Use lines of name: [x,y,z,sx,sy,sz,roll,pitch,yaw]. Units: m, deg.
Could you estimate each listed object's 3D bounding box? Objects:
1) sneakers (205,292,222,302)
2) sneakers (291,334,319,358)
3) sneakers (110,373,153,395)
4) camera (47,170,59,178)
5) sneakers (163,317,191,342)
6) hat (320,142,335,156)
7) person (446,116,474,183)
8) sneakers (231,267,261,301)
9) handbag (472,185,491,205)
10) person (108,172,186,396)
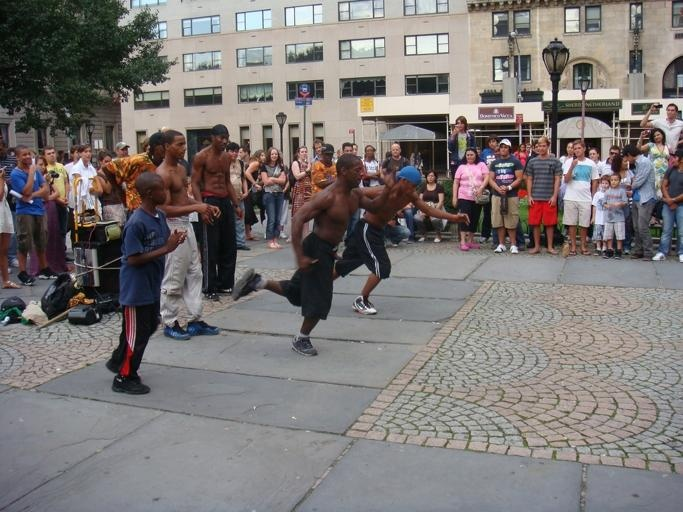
sneakers: [-1.863,0.585,9.855,0.270,0.103,0.095,1,9,-9]
sneakers: [-0.413,0.994,7.507,0.142,0.151,0.361,-5,9,-42]
sneakers: [-2.014,1.227,6.427,0.361,0.161,0.160,0,2,6]
camera: [-5.359,-1.549,12.517,0.136,0.081,0.216,-13,18,-40]
sneakers: [-1.997,0.900,8.095,0.438,0.247,0.154,0,1,20]
hat: [-0.290,-2.236,13.752,0.295,0.166,0.380,2,5,-4]
person: [2.658,-2.180,15.050,0.631,1.796,0.524,0,9,-6]
sneakers: [-1.050,0.258,7.372,0.215,0.486,0.180,18,36,-44]
handbag: [2.803,-1.228,13.576,0.264,0.328,0.342,0,-3,-2]
person: [-1.917,0.242,6.448,0.765,2.071,0.637,-6,13,-22]
